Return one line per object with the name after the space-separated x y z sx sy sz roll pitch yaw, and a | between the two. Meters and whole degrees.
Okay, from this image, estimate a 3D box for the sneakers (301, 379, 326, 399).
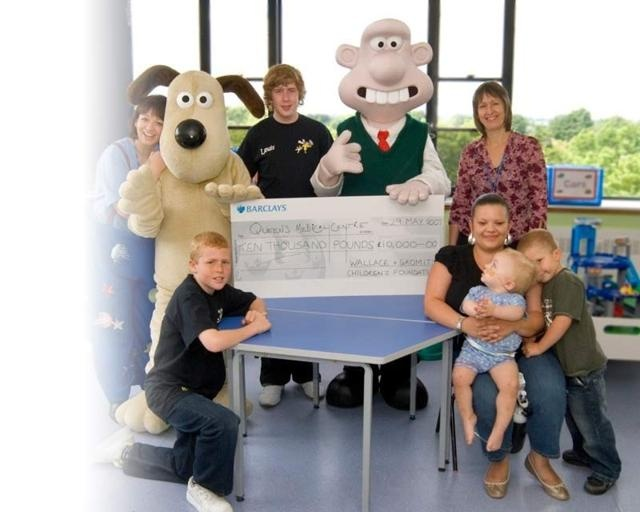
-0.030 0.746 3.611 0.085 0.064 0.148 3 -11 -33 | sneakers

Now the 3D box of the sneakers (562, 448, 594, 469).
1.145 0.896 2.855 0.127 0.055 0.048 2 2 43 | sneakers

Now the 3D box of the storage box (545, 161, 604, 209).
1.795 -0.534 4.503 0.400 0.280 0.243 7 32 28 | storage box

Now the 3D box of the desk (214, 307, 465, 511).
0.066 0.481 2.558 0.791 0.444 0.770 1 8 19 | desk

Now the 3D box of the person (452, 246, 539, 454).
0.709 0.387 2.573 0.342 0.821 0.292 -2 9 -8 | person

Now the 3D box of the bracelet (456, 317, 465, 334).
0.564 0.275 2.580 0.030 0.059 0.055 11 8 20 | bracelet

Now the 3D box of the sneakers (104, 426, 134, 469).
-0.893 0.861 2.901 0.106 0.057 0.140 -30 12 14 | sneakers

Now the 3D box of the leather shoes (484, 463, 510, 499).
0.741 0.928 2.694 0.097 0.036 0.220 -9 26 20 | leather shoes

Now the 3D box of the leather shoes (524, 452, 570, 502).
0.937 0.924 2.661 0.083 0.096 0.244 -24 56 -27 | leather shoes
